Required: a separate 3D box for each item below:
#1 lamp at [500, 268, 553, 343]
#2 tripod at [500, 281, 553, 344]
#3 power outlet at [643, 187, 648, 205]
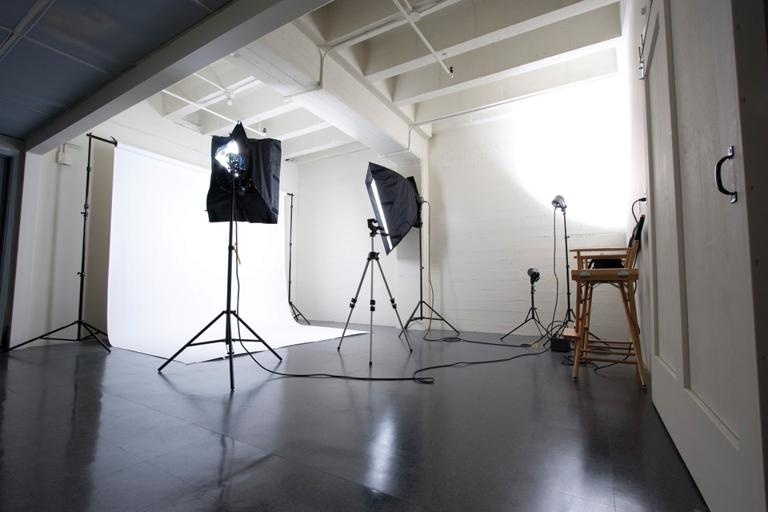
[{"bbox_3d":[1.921,0.658,7.261,0.816,1.255,0.890,1,-2,33],"label":"lamp"},{"bbox_3d":[1.987,0.731,7.223,0.677,1.060,0.744,3,6,33],"label":"tripod"},{"bbox_3d":[2.556,-0.603,5.035,0.031,0.177,0.198,4,13,21],"label":"power outlet"}]
